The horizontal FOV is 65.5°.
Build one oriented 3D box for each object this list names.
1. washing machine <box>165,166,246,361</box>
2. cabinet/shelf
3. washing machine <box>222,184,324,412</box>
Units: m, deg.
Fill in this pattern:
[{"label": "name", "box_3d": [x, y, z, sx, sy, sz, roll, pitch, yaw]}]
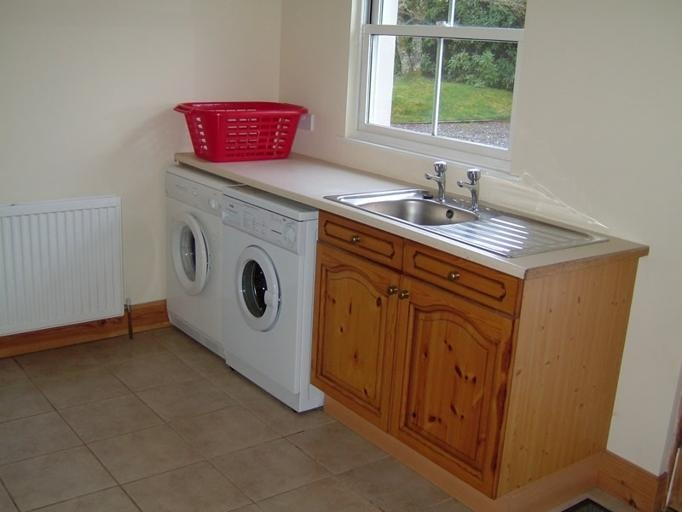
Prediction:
[{"label": "washing machine", "box_3d": [-0.761, 0.013, 3.458, 0.566, 1.040, 0.746, -7, 22, -42]}, {"label": "cabinet/shelf", "box_3d": [0.544, 0.379, 2.561, 0.828, 1.069, 1.236, -5, 15, -33]}, {"label": "washing machine", "box_3d": [-0.277, 0.192, 2.992, 0.650, 1.042, 0.825, -5, 18, -29]}]
